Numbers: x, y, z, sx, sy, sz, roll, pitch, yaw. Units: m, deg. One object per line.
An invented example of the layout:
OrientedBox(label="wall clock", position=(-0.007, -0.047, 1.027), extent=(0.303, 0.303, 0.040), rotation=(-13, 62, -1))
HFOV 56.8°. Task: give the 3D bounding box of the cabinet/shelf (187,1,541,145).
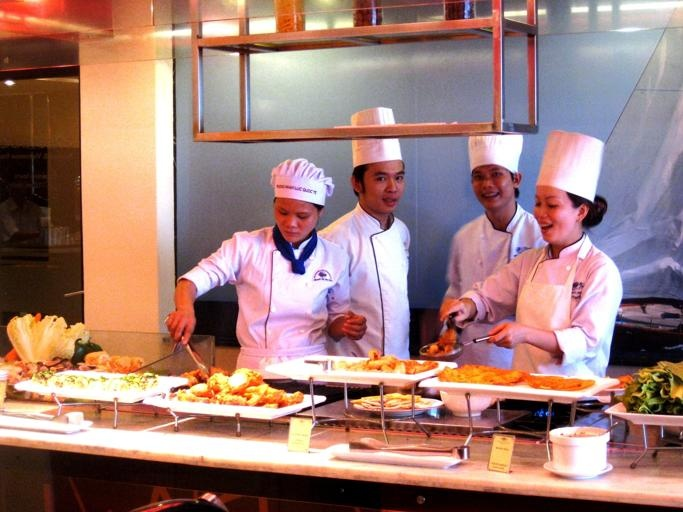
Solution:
OrientedBox(label="cabinet/shelf", position=(0.044, -0.698, 2.348), extent=(1.295, 0.526, 0.456), rotation=(2, 11, 22))

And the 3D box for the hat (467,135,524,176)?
OrientedBox(label="hat", position=(0.852, -0.562, 3.564), extent=(0.336, 0.249, 0.295), rotation=(-1, 2, -27))

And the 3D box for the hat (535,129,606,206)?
OrientedBox(label="hat", position=(1.012, -0.390, 2.874), extent=(0.298, 0.299, 0.317), rotation=(25, -6, -41))

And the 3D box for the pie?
OrientedBox(label="pie", position=(0.573, 0.389, 2.053), extent=(0.486, 0.041, 0.228), rotation=(2, 11, 22))

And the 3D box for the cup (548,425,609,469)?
OrientedBox(label="cup", position=(0.673, 0.509, 1.752), extent=(0.130, 0.073, 0.128), rotation=(0, -4, 0))

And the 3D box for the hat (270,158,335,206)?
OrientedBox(label="hat", position=(-0.200, -0.357, 3.138), extent=(0.254, 0.181, 0.264), rotation=(2, 0, 12))
